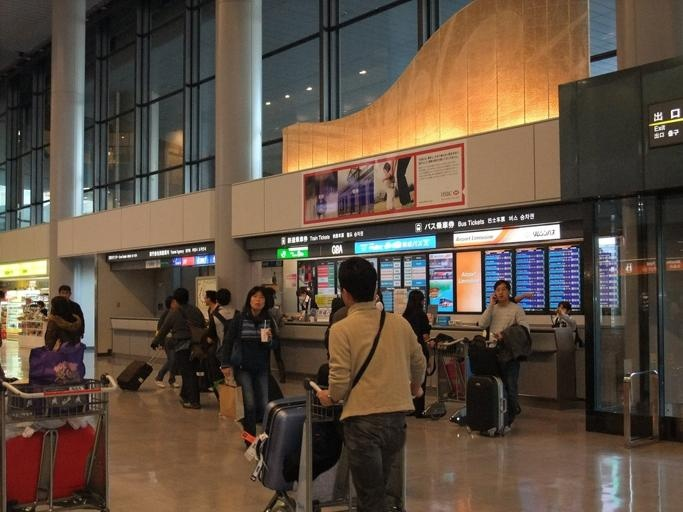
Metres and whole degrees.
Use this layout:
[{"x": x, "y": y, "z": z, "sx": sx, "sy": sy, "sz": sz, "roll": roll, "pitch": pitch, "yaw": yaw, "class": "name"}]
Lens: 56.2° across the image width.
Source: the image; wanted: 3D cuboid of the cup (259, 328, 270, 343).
[{"x": -0.813, "y": 0.841, "z": 6.793, "sx": 0.123, "sy": 0.170, "sz": 0.136, "roll": -2, "pitch": -4, "yaw": 24, "class": "cup"}]

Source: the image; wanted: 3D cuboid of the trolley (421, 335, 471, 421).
[{"x": 1.475, "y": 1.606, "z": 8.995, "sx": 0.649, "sy": 1.112, "sz": 0.932, "roll": 3, "pitch": 3, "yaw": 13, "class": "trolley"}]

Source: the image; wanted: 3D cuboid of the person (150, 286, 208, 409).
[{"x": -2.326, "y": 1.338, "z": 9.447, "sx": 0.523, "sy": 1.748, "sz": 1.026, "roll": 0, "pitch": -1, "yaw": -34, "class": "person"}]

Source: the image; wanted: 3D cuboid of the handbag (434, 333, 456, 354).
[{"x": 1.396, "y": 1.179, "z": 8.775, "sx": 0.283, "sy": 0.220, "sz": 0.202, "roll": 2, "pitch": -5, "yaw": -5, "class": "handbag"}]

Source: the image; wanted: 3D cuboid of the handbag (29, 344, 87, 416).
[{"x": -2.310, "y": 1.009, "z": 5.174, "sx": 0.409, "sy": 0.562, "sz": 0.290, "roll": 1, "pitch": -16, "yaw": -22, "class": "handbag"}]

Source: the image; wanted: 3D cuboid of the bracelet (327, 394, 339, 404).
[{"x": -0.051, "y": 0.944, "z": 4.256, "sx": 0.068, "sy": 0.059, "sz": 0.094, "roll": 3, "pitch": -9, "yaw": -3, "class": "bracelet"}]

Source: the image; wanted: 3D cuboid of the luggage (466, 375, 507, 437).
[{"x": 1.690, "y": 1.800, "z": 7.722, "sx": 0.501, "sy": 0.674, "sz": 0.400, "roll": -1, "pitch": -11, "yaw": 23, "class": "luggage"}]

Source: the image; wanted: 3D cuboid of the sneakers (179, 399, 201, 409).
[{"x": -2.231, "y": 2.149, "z": 9.402, "sx": 0.321, "sy": 0.144, "sz": 0.120, "roll": 6, "pitch": 1, "yaw": 43, "class": "sneakers"}]

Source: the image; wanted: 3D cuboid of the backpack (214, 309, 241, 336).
[{"x": -1.397, "y": 0.785, "z": 7.759, "sx": 0.359, "sy": 0.495, "sz": 0.265, "roll": 0, "pitch": -6, "yaw": -5, "class": "backpack"}]

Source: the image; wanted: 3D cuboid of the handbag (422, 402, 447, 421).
[{"x": 1.245, "y": 2.058, "z": 8.567, "sx": 0.248, "sy": 0.178, "sz": 0.187, "roll": -2, "pitch": -5, "yaw": 0, "class": "handbag"}]

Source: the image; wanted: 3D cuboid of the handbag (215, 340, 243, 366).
[{"x": -1.223, "y": 1.034, "z": 6.871, "sx": 0.306, "sy": 0.275, "sz": 0.086, "roll": -2, "pitch": -1, "yaw": 25, "class": "handbag"}]

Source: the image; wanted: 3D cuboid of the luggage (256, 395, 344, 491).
[{"x": -0.287, "y": 1.442, "z": 5.028, "sx": 0.720, "sy": 0.645, "sz": 0.376, "roll": 7, "pitch": 2, "yaw": -38, "class": "luggage"}]

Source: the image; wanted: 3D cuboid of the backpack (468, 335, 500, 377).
[{"x": 1.730, "y": 1.222, "z": 7.986, "sx": 0.381, "sy": 0.424, "sz": 0.590, "roll": -1, "pitch": -3, "yaw": 1, "class": "backpack"}]
